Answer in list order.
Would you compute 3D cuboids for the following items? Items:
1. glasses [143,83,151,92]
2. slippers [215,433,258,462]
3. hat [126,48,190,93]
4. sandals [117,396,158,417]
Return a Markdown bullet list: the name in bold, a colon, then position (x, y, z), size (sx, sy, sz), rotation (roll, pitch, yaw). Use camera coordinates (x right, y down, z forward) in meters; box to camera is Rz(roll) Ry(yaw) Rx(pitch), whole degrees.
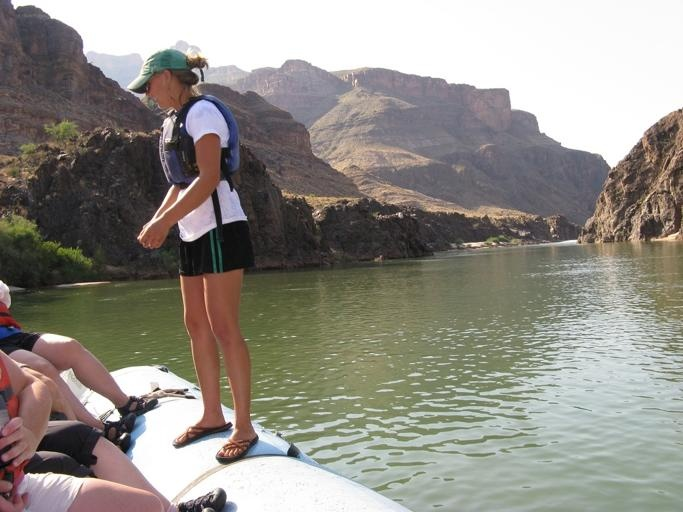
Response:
- **glasses**: position (-1.838, -1.600, 5.591), size (0.022, 0.059, 0.046), rotation (35, 25, 30)
- **slippers**: position (-0.868, 1.612, 4.971), size (0.239, 0.123, 0.409), rotation (-1, 3, 27)
- **hat**: position (-1.742, -1.820, 5.740), size (0.675, 0.354, 0.433), rotation (-13, 6, -11)
- **sandals**: position (-2.026, 1.486, 5.899), size (0.390, 0.179, 0.159), rotation (-9, 5, -8)
